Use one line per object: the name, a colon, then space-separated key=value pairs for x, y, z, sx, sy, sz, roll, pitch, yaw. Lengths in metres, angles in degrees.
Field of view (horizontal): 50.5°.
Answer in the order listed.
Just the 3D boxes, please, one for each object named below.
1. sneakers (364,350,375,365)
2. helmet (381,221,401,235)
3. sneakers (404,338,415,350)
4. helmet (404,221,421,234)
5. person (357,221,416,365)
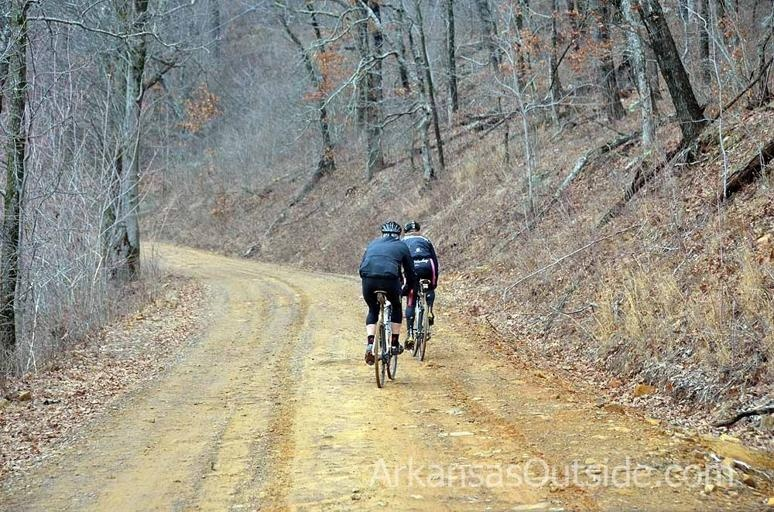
sneakers: x=-0.370 y=2.192 z=17.880 sx=0.214 sy=0.322 sz=0.232 roll=-1 pitch=8 yaw=4
helmet: x=0.076 y=-0.619 z=18.507 sx=0.314 sy=0.409 sz=0.420 roll=1 pitch=9 yaw=2
sneakers: x=0.477 y=2.052 z=19.374 sx=0.282 sy=0.292 sz=0.182 roll=10 pitch=-11 yaw=-34
helmet: x=0.593 y=-0.698 z=19.878 sx=0.283 sy=0.368 sz=0.402 roll=1 pitch=20 yaw=8
person: x=-0.070 y=0.869 z=18.294 sx=1.468 sy=3.230 sz=0.742 roll=-9 pitch=11 yaw=-41
